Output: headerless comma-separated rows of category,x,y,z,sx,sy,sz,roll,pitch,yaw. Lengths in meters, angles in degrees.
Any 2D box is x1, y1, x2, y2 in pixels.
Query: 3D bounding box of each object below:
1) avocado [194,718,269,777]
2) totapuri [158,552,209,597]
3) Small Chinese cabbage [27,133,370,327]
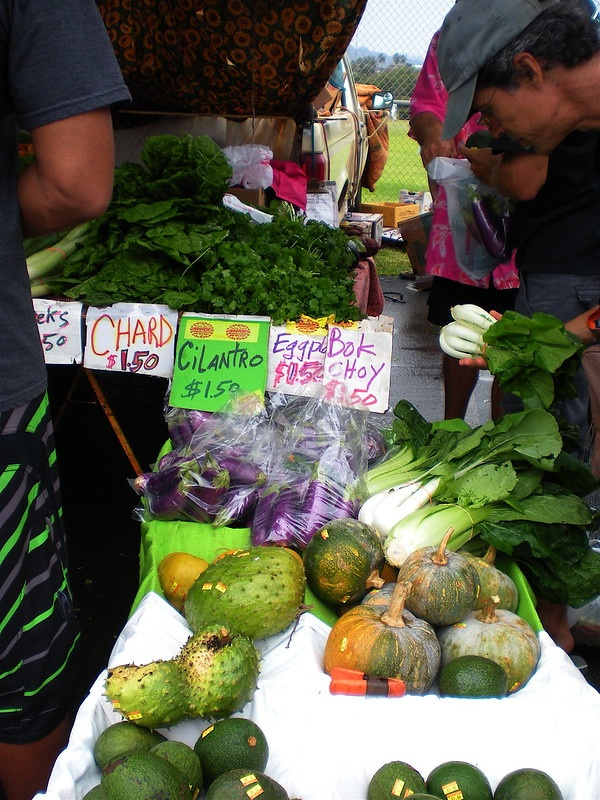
avocado,-0.108,0.542,0.921,0.097,0.113,0.094,20,52,-5
totapuri,-0.288,0.427,1.417,0.093,0.072,0.120,-8,20,-36
Small Chinese cabbage,-0.312,-0.693,2.627,1.328,0.873,1.171,-2,21,0
